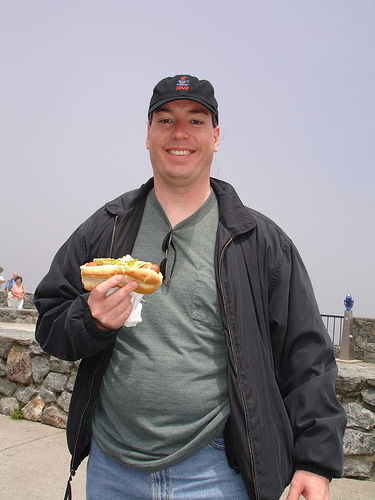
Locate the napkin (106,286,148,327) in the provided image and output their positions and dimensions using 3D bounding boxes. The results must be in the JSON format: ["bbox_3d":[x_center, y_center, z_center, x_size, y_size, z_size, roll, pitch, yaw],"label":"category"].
[{"bbox_3d":[-0.255,0.223,1.796,0.063,0.160,0.197,11,4,-33],"label":"napkin"}]

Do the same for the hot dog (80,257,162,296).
[{"bbox_3d":[-0.255,0.093,1.740,0.287,0.141,0.201,-2,-5,38],"label":"hot dog"}]

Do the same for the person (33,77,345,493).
[{"bbox_3d":[-0.025,0.118,1.872,1.270,1.835,0.708,0,-4,18],"label":"person"}]
